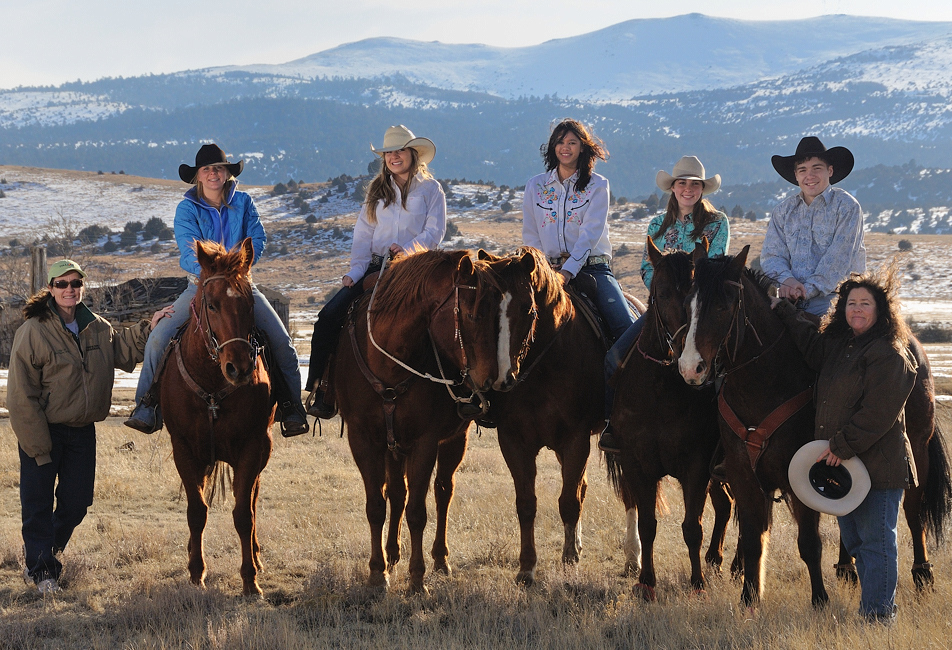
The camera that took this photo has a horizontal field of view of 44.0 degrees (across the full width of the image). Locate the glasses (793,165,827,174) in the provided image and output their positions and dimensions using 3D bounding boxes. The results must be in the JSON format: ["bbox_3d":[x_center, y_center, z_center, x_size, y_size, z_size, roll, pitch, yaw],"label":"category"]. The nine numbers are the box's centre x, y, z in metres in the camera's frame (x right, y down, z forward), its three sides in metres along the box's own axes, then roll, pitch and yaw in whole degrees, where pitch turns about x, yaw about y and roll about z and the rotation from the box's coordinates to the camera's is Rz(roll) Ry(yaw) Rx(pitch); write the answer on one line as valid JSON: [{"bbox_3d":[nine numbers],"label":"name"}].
[{"bbox_3d":[4.801,-2.214,16.801,0.450,0.174,0.233,3,8,14],"label":"glasses"}]

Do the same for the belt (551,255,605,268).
[{"bbox_3d":[1.697,-0.962,18.086,0.377,0.104,0.435,-2,-6,32],"label":"belt"}]

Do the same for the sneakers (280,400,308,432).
[{"bbox_3d":[-2.722,1.429,17.717,0.247,0.628,0.270,-2,0,3],"label":"sneakers"}]

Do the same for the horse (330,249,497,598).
[{"bbox_3d":[-0.792,1.339,16.714,2.539,4.804,1.396,6,9,34],"label":"horse"}]

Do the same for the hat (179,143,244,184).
[{"bbox_3d":[-3.966,-2.505,17.690,0.893,0.418,1.083,-20,7,-13],"label":"hat"}]

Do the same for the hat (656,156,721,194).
[{"bbox_3d":[3.251,-2.351,17.992,0.631,0.319,0.770,1,-24,4],"label":"hat"}]

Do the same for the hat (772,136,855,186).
[{"bbox_3d":[4.811,-2.518,16.947,0.902,0.405,1.067,-8,-4,27],"label":"hat"}]

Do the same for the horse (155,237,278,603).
[{"bbox_3d":[-3.596,1.304,16.727,1.360,4.963,2.018,-4,9,-30],"label":"horse"}]
